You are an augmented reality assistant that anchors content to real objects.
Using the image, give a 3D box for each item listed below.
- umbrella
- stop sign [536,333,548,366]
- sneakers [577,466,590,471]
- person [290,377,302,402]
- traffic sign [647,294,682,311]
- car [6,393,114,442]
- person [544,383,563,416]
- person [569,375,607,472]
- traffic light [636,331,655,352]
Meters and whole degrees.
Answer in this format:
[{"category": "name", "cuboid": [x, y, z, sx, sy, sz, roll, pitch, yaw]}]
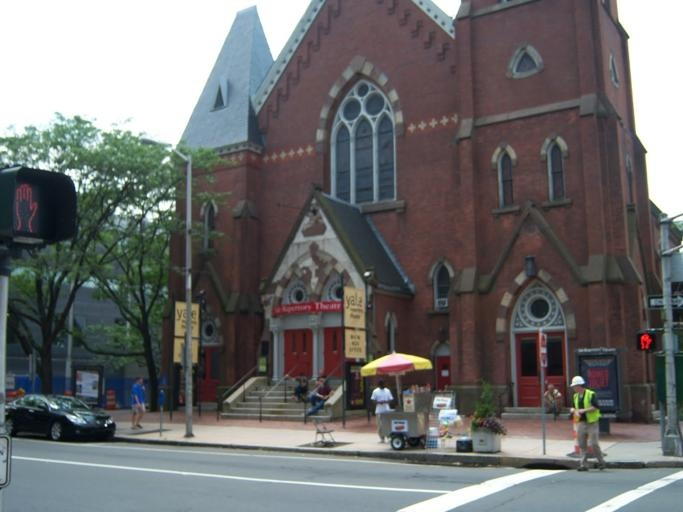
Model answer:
[{"category": "umbrella", "cuboid": [1.952, 4.087, 30.981, 2.332, 2.405, 2.566, 1, -11, -3]}, {"category": "stop sign", "cuboid": [7.776, 3.619, 32.622, 0.144, 1.548, 1.280, -4, -17, 24]}, {"category": "sneakers", "cuboid": [6.491, 5.687, 22.588, 0.296, 0.145, 0.213, -6, -13, 15]}, {"category": "person", "cuboid": [-2.010, 5.875, 36.828, 0.507, 1.362, 0.809, -6, -47, 4]}, {"category": "traffic sign", "cuboid": [9.998, 1.367, 25.901, 1.099, 0.558, 0.897, 10, -18, -43]}, {"category": "car", "cuboid": [-10.351, 5.850, 30.656, 4.093, 1.834, 1.398, -8, -13, 23]}, {"category": "person", "cuboid": [8.488, 5.839, 33.785, 0.654, 1.311, 0.424, -5, -12, 16]}, {"category": "person", "cuboid": [6.694, 4.543, 22.908, 0.677, 2.504, 0.545, -5, -12, 17]}, {"category": "traffic light", "cuboid": [9.321, 2.573, 25.756, 0.513, 0.628, 0.485, -6, -13, 18]}]
